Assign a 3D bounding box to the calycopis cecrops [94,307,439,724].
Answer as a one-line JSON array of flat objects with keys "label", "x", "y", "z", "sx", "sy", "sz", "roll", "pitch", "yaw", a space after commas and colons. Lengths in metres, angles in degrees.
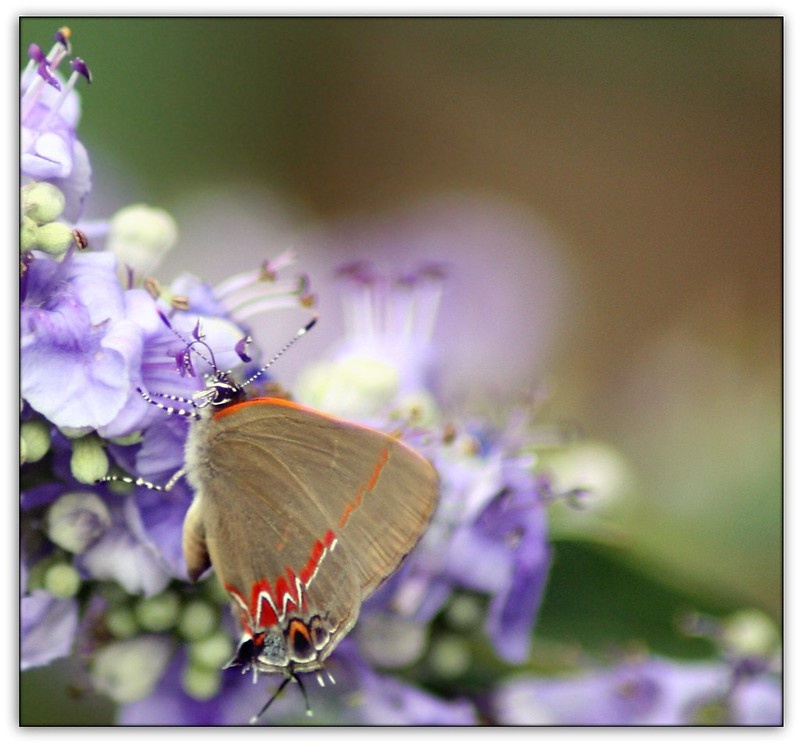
[{"label": "calycopis cecrops", "x": -0.356, "y": 0.490, "z": 2.653, "sx": 0.847, "sy": 1.023, "sz": 0.289, "roll": 20, "pitch": 26, "yaw": 24}]
